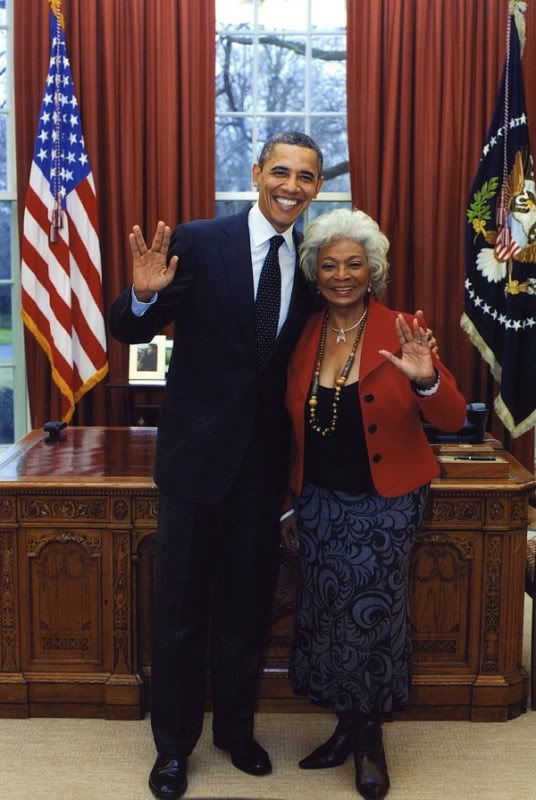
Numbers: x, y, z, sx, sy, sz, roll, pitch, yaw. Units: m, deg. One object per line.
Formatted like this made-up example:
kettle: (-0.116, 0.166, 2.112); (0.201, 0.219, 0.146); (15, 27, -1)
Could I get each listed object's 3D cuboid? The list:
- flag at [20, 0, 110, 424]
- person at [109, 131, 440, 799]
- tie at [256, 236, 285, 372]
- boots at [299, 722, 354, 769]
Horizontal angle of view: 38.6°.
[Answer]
flag: (-1.044, -0.959, 3.954); (0.373, 2.128, 0.279); (3, 7, 18)
person: (-0.103, 0.178, 1.900); (0.566, 1.644, 0.369); (-3, 7, -27)
tie: (0.002, -0.241, 1.835); (0.044, 0.314, 0.105); (3, 7, 17)
boots: (0.172, 0.956, 2.136); (0.198, 0.133, 0.077); (-2, -3, -6)
